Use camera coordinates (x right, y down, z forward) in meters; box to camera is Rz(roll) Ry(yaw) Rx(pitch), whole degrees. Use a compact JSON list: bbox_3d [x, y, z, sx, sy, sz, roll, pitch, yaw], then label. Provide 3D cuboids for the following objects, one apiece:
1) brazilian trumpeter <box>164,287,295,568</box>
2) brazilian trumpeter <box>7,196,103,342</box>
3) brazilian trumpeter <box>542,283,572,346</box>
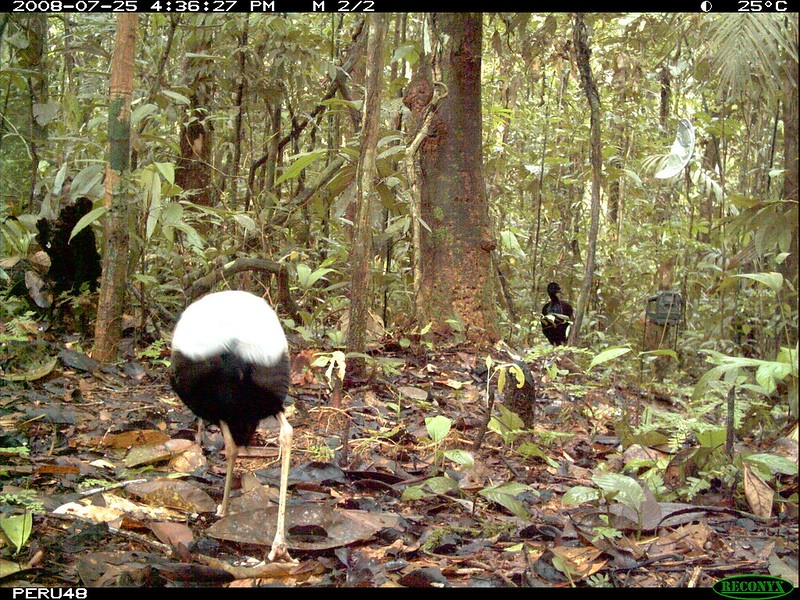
[{"bbox_3d":[-0.738,0.532,3.269,0.577,1.070,0.904,2,8,-8],"label":"brazilian trumpeter"},{"bbox_3d":[-2.289,-0.207,4.956,0.787,0.878,0.616,6,4,41],"label":"brazilian trumpeter"},{"bbox_3d":[1.323,0.102,6.329,0.251,0.407,0.633,4,-3,11],"label":"brazilian trumpeter"}]
